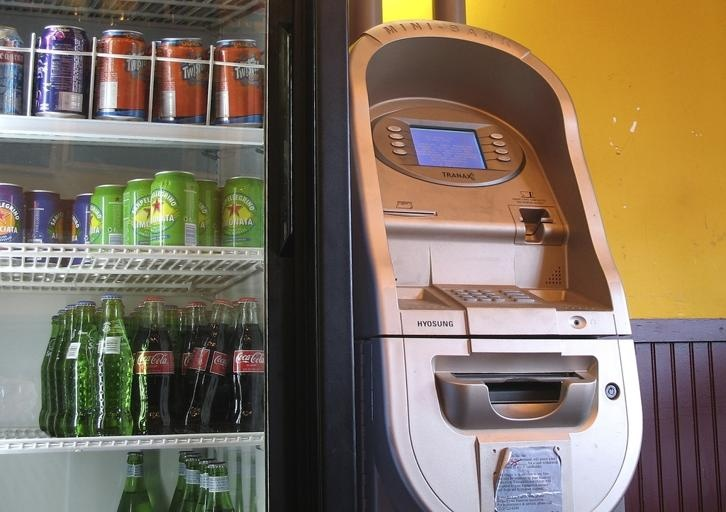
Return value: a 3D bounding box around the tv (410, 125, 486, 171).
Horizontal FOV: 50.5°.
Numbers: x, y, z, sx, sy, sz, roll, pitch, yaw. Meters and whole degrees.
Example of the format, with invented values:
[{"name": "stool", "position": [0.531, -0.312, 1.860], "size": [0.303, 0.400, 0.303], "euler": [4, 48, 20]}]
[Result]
[{"name": "tv", "position": [0.245, -0.319, 2.312], "size": [0.178, 0.124, 0.008], "euler": [2, -35, -13]}]
